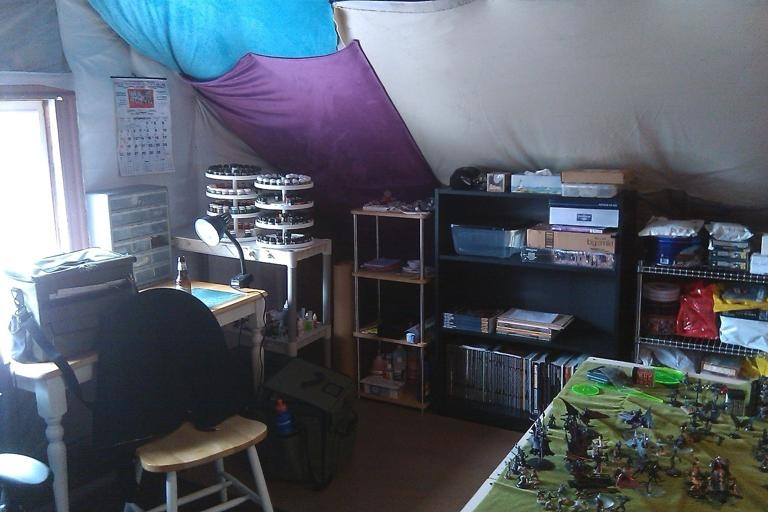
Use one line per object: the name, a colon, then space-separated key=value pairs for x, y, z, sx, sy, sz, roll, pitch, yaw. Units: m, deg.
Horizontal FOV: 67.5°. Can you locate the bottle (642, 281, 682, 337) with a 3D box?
bottle: x=1.748 y=0.341 z=3.636 sx=0.315 sy=0.324 sz=0.298 roll=-1 pitch=4 yaw=4

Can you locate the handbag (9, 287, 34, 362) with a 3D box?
handbag: x=-1.874 y=0.353 z=2.951 sx=0.106 sy=0.364 sz=0.253 roll=-10 pitch=14 yaw=-41

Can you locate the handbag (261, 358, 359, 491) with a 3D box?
handbag: x=-0.534 y=1.018 z=3.692 sx=0.696 sy=0.697 sz=0.639 roll=7 pitch=19 yaw=15

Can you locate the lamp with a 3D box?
lamp: x=-1.042 y=-0.033 z=3.787 sx=0.302 sy=0.505 sz=0.521 roll=-4 pitch=11 yaw=-12

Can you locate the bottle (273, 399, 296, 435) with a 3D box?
bottle: x=-0.586 y=0.933 z=3.340 sx=0.107 sy=0.183 sz=0.098 roll=-1 pitch=10 yaw=0

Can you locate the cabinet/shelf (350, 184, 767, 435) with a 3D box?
cabinet/shelf: x=1.167 y=0.334 z=3.663 sx=1.768 sy=1.425 sz=0.509 roll=4 pitch=8 yaw=21

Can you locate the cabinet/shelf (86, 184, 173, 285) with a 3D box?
cabinet/shelf: x=-1.685 y=-0.284 z=3.918 sx=0.383 sy=0.475 sz=0.188 roll=-14 pitch=50 yaw=-30

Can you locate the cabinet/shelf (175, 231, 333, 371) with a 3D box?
cabinet/shelf: x=-0.897 y=0.307 z=3.886 sx=1.000 sy=0.812 sz=0.453 roll=8 pitch=13 yaw=34

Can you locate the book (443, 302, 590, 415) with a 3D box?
book: x=0.912 y=0.695 z=3.883 sx=0.773 sy=0.661 sz=0.360 roll=7 pitch=13 yaw=28
